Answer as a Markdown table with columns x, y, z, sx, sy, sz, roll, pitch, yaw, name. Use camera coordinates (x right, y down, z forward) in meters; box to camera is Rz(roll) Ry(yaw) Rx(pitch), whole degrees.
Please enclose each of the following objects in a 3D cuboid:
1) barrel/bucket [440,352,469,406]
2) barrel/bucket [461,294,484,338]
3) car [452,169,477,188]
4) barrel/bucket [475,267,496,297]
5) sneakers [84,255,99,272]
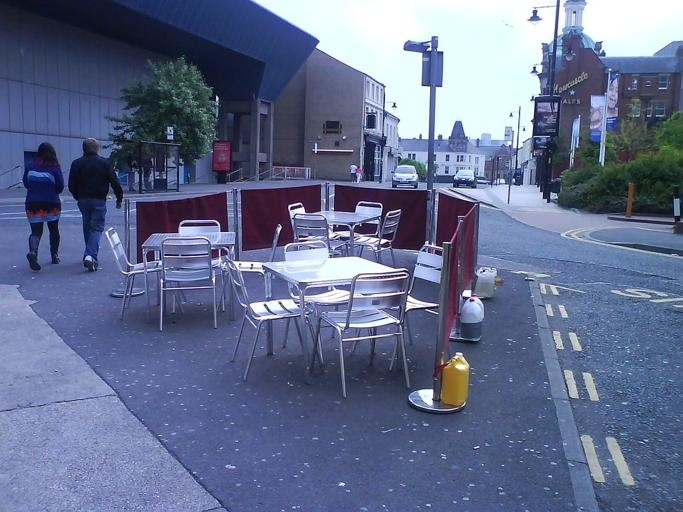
| x | y | z | sx | sy | sz | roll | pitch | yaw | name |
| --- | --- | --- | --- | --- | --- | --- | --- | --- | --- |
| 1.131 | 1.213 | 5.803 | 0.319 | 0.521 | 0.260 | 2 | 12 | -3 | barrel/bucket |
| 1.688 | 0.808 | 7.671 | 0.294 | 0.551 | 0.343 | 5 | 12 | 12 | barrel/bucket |
| 11.559 | -7.263 | 54.707 | 1.444 | 1.458 | 3.203 | 1 | 3 | 15 | car |
| 2.370 | 0.461 | 9.743 | 0.308 | 0.463 | 0.427 | 5 | 12 | 12 | barrel/bucket |
| -4.656 | 0.201 | 10.813 | 0.164 | 0.419 | 0.192 | -11 | 49 | -13 | sneakers |
